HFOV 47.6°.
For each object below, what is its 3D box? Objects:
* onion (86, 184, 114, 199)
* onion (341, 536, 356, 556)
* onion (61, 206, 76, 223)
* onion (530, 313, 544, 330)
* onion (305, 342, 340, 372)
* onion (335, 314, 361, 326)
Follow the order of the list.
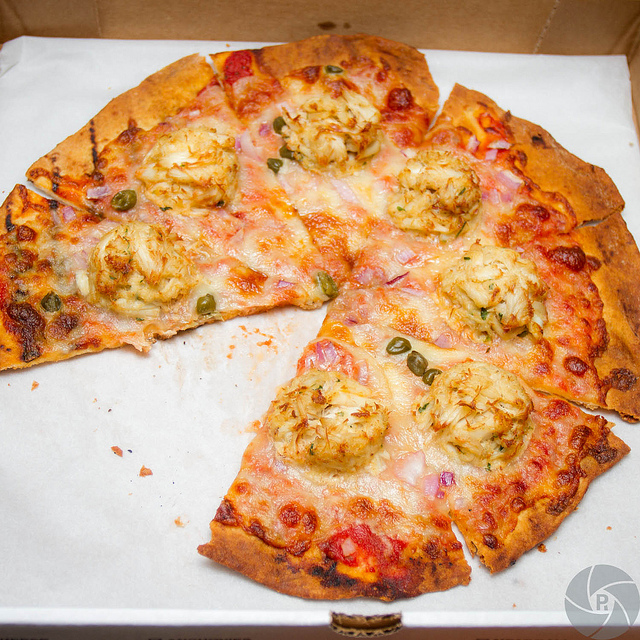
[{"bbox_3d":[-1.375,-0.807,4.544,0.171,0.040,0.073,-8,66,14],"label":"onion"},{"bbox_3d":[0.149,1.158,3.693,0.065,0.015,0.086,-15,71,-5],"label":"onion"},{"bbox_3d":[-1.547,-0.658,4.496,0.100,0.026,0.089,-9,68,-8],"label":"onion"},{"bbox_3d":[1.256,0.007,4.185,0.092,0.028,0.086,41,50,-19],"label":"onion"},{"bbox_3d":[0.020,0.210,4.194,0.200,0.074,0.173,5,71,2],"label":"onion"},{"bbox_3d":[0.183,-0.004,4.274,0.098,0.034,0.054,13,79,7],"label":"onion"}]
